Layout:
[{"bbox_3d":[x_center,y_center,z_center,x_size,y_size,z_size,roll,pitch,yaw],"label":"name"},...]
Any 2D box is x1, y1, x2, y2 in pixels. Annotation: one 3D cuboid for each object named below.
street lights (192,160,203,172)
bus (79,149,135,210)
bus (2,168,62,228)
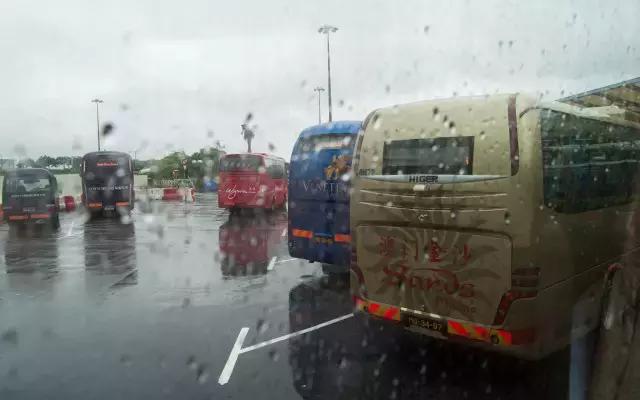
[{"bbox_3d":[-12.933,-3.812,48.224,1.041,1.011,0.734,-3,20,-5],"label":"street lights"},{"bbox_3d":[-10.730,-0.969,22.869,2.231,2.463,4.633,-1,8,-13],"label":"bus"},{"bbox_3d":[-12.026,-0.190,18.806,1.699,1.917,2.924,-1,8,-20],"label":"bus"}]
